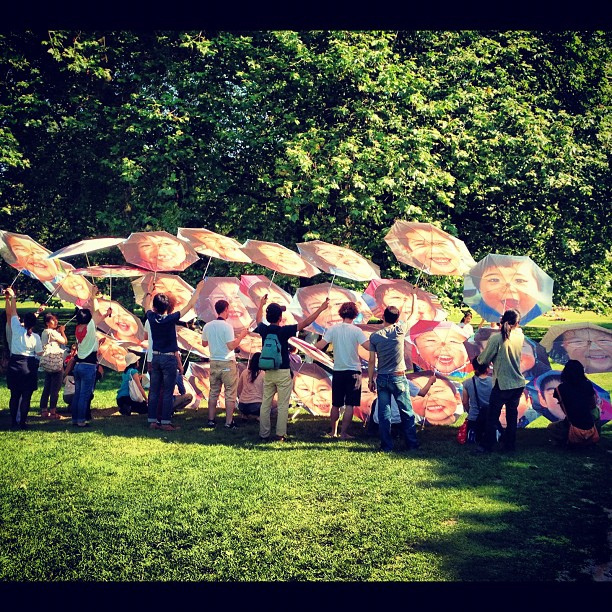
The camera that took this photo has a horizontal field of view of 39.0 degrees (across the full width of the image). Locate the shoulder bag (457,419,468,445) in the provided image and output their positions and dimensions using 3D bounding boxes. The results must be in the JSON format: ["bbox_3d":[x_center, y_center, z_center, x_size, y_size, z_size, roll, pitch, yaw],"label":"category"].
[{"bbox_3d":[2.407,1.901,13.213,0.154,0.372,0.326,1,12,2],"label":"shoulder bag"}]

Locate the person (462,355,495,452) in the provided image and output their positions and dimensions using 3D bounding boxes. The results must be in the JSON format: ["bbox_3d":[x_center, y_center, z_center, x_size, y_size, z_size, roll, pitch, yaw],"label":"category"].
[{"bbox_3d":[2.588,1.502,13.188,0.534,1.598,0.413,-5,20,-15],"label":"person"}]

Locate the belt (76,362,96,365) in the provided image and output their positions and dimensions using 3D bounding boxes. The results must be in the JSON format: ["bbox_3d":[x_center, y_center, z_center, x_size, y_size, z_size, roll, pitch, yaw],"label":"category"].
[{"bbox_3d":[-3.483,0.908,13.570,0.251,0.041,0.057,1,12,3],"label":"belt"}]

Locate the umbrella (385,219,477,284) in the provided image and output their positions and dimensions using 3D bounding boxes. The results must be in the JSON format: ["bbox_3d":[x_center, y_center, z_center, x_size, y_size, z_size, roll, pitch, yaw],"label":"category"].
[{"bbox_3d":[2.174,-1.231,14.168,1.429,1.322,0.937,4,38,22],"label":"umbrella"}]

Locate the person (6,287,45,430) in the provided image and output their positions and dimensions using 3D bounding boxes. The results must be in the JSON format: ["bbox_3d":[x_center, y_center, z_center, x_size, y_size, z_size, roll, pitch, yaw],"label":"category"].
[{"bbox_3d":[-4.467,0.868,13.657,0.610,2.284,0.842,-4,13,-19],"label":"person"}]

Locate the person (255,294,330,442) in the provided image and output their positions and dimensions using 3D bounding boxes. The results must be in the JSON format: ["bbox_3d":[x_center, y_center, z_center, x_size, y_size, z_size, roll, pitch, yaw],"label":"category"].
[{"bbox_3d":[-0.257,1.014,13.570,1.052,2.221,1.446,0,12,0],"label":"person"}]

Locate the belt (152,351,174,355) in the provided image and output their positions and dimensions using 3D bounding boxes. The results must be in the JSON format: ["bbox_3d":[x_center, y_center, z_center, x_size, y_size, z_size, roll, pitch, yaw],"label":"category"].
[{"bbox_3d":[-2.235,0.739,13.538,0.324,0.065,0.082,-3,13,-16],"label":"belt"}]

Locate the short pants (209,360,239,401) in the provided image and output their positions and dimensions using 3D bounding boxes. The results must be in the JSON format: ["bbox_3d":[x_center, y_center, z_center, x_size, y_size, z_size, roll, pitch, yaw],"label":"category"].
[{"bbox_3d":[-1.332,1.190,13.887,0.459,0.686,0.289,-2,12,-10],"label":"short pants"}]

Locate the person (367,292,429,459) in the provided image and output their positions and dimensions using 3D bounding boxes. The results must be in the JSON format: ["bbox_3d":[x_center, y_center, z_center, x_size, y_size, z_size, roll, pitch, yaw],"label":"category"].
[{"bbox_3d":[1.404,1.008,12.867,0.799,2.312,0.548,-2,11,7],"label":"person"}]

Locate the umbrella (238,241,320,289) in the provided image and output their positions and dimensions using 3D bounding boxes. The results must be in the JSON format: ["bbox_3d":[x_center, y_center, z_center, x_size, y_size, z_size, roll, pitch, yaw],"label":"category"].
[{"bbox_3d":[-0.437,-0.767,14.208,0.721,0.428,0.762,12,-18,45],"label":"umbrella"}]

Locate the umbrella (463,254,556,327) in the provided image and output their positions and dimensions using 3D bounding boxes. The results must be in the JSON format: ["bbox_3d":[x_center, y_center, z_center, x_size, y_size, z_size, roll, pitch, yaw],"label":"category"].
[{"bbox_3d":[3.197,-0.199,13.392,1.191,1.181,0.743,-11,12,26],"label":"umbrella"}]

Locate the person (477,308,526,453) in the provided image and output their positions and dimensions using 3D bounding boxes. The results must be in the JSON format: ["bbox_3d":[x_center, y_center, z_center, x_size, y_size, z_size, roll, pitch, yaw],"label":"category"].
[{"bbox_3d":[2.919,1.118,12.786,0.648,2.116,0.808,3,13,13],"label":"person"}]

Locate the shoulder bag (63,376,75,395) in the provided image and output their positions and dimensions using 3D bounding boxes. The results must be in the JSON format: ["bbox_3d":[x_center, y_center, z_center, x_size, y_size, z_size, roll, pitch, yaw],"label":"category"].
[{"bbox_3d":[-4.114,1.361,14.968,0.157,0.253,0.435,-2,13,-13],"label":"shoulder bag"}]

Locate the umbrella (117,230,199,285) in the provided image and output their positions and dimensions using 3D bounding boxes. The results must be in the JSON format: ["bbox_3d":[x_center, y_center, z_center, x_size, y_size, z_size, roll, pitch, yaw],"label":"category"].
[{"bbox_3d":[-2.461,-0.896,14.289,0.823,0.573,0.833,-24,-49,26],"label":"umbrella"}]

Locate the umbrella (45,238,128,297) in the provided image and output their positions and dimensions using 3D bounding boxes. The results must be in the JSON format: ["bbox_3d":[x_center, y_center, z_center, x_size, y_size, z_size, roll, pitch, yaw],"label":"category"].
[{"bbox_3d":[-3.540,-0.719,13.908,0.772,0.648,0.761,-21,-5,-33],"label":"umbrella"}]

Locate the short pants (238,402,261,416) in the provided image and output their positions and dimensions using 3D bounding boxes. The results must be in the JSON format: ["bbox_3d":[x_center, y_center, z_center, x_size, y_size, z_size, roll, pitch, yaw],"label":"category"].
[{"bbox_3d":[-0.944,1.718,14.407,0.366,0.282,0.206,0,12,-2],"label":"short pants"}]

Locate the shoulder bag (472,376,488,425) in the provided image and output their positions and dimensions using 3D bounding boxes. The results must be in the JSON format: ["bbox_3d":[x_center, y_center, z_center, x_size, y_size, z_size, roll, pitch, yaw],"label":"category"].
[{"bbox_3d":[2.633,1.473,12.998,0.171,0.593,0.426,-15,-6,10],"label":"shoulder bag"}]

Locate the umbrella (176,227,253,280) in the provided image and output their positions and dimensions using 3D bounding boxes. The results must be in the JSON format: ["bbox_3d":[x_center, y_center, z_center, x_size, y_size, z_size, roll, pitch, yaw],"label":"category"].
[{"bbox_3d":[-1.611,-1.117,14.563,0.887,0.557,0.889,33,-32,-18],"label":"umbrella"}]

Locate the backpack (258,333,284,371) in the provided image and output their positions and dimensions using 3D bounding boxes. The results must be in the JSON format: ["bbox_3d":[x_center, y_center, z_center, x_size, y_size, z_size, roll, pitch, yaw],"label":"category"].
[{"bbox_3d":[-0.522,0.709,13.032,0.380,0.572,0.236,1,12,3],"label":"backpack"}]
